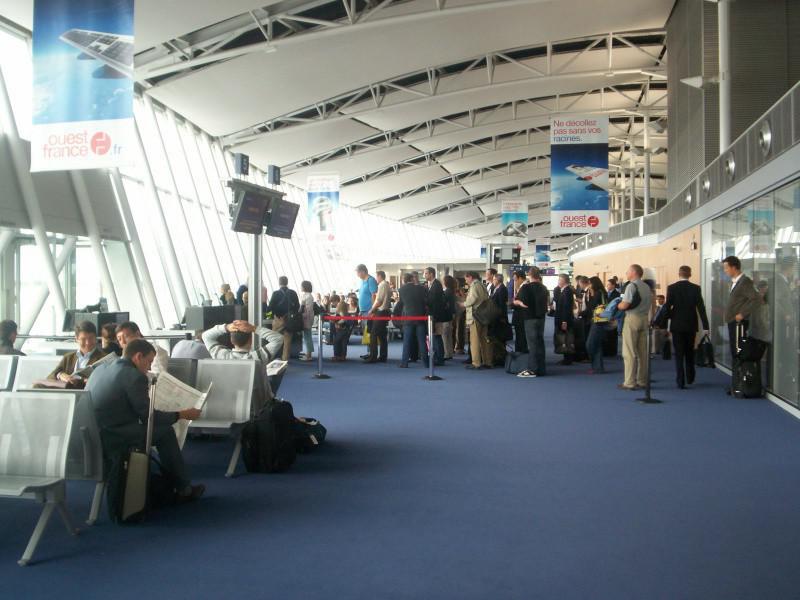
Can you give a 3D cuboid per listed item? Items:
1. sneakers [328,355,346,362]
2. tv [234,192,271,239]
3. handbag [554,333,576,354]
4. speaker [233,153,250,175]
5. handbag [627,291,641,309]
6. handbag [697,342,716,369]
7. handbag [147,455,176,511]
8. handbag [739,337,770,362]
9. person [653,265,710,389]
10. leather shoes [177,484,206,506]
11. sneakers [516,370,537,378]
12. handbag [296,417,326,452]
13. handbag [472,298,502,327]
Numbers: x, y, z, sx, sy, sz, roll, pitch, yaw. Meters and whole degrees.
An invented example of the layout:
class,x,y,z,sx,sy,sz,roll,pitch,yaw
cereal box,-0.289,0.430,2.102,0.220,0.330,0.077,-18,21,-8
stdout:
class,x,y,z,sx,sy,sz,roll,pitch,yaw
sneakers,-1.411,1.307,15.367,0.404,0.181,0.144,1,-5,6
tv,-2.346,-1.381,10.825,0.144,0.611,0.629,12,3,17
handbag,3.400,0.872,14.169,0.353,0.558,0.201,2,6,6
speaker,-2.586,-2.239,11.231,0.205,0.366,0.325,-2,5,-20
handbag,3.528,-0.016,10.326,0.191,0.304,0.137,1,4,17
handbag,5.696,0.999,12.777,0.274,0.572,0.506,-3,3,7
handbag,-2.073,1.605,5.948,0.278,0.505,0.139,-4,-5,-25
handbag,5.077,0.712,9.898,0.377,0.365,0.282,1,5,17
person,4.524,0.524,11.013,0.610,1.737,0.701,0,4,7
leather shoes,-1.819,1.681,5.972,0.259,0.095,0.129,-7,-39,-12
sneakers,2.292,1.304,12.396,0.303,0.139,0.139,3,-3,8
handbag,-0.956,1.452,7.543,0.367,0.304,0.326,-3,5,-25
handbag,1.635,0.220,13.151,0.383,0.394,0.206,-31,-2,3
